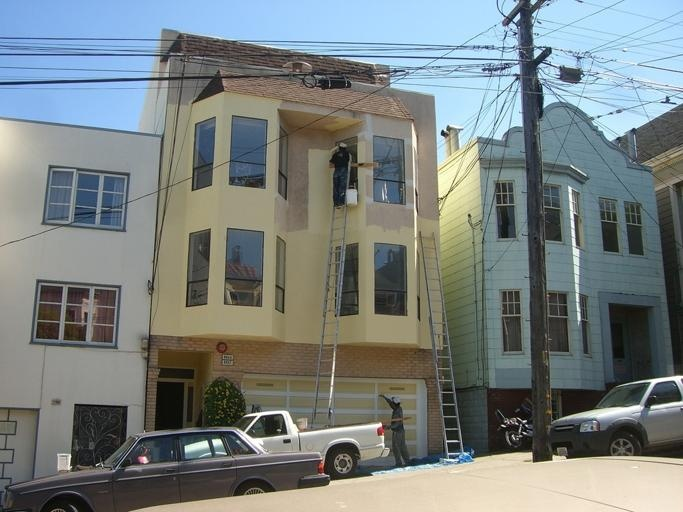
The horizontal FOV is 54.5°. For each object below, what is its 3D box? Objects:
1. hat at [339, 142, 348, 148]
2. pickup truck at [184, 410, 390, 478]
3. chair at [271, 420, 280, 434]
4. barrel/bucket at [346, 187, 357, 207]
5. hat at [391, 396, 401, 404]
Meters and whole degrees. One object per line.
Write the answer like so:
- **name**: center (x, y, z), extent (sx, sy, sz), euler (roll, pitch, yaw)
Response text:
- **hat**: center (0.076, -3.851, 23.072), extent (0.234, 0.067, 0.242), euler (16, 10, 15)
- **pickup truck**: center (-0.745, 4.902, 17.555), extent (3.633, 1.392, 1.786), euler (4, -13, -19)
- **chair**: center (-1.669, 4.372, 16.852), extent (0.199, 0.406, 0.214), euler (0, -9, -16)
- **barrel/bucket**: center (0.358, -1.992, 22.656), extent (0.432, 0.743, 0.396), euler (1, -28, 0)
- **hat**: center (1.773, 4.601, 21.088), extent (0.260, 0.296, 0.321), euler (-1, -7, -3)
